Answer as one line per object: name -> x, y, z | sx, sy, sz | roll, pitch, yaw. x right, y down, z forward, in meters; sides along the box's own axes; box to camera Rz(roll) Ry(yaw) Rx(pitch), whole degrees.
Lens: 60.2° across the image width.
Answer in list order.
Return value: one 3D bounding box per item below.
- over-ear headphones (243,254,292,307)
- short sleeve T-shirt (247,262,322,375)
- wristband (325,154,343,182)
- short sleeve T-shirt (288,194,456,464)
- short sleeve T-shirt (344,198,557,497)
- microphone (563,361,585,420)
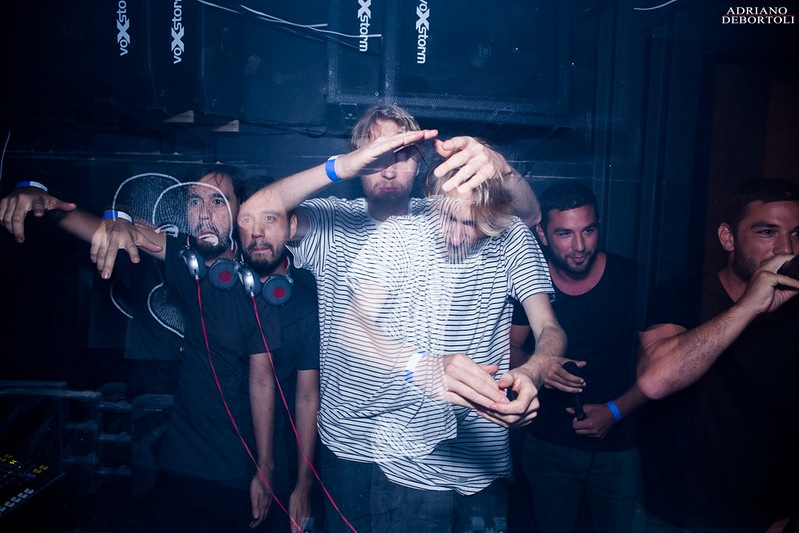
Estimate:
over-ear headphones -> -0.465, 0.044, 2.468 | 0.197, 0.078, 0.204 | 15, 19, -9
short sleeve T-shirt -> -0.401, 0.185, 2.452 | 0.248, 0.355, 0.105 | 1, 5, 38
wristband -> -0.234, -0.339, 2.415 | 0.046, 0.088, 0.055 | -10, 19, -32
short sleeve T-shirt -> -0.088, 0.232, 2.464 | 0.557, 0.927, 0.255 | -2, 16, -9
short sleeve T-shirt -> 0.053, 0.272, 2.613 | 1.074, 1.054, 0.567 | 4, 0, -5
microphone -> 0.648, 0.474, 2.579 | 0.061, 0.256, 0.064 | -5, 8, 0
